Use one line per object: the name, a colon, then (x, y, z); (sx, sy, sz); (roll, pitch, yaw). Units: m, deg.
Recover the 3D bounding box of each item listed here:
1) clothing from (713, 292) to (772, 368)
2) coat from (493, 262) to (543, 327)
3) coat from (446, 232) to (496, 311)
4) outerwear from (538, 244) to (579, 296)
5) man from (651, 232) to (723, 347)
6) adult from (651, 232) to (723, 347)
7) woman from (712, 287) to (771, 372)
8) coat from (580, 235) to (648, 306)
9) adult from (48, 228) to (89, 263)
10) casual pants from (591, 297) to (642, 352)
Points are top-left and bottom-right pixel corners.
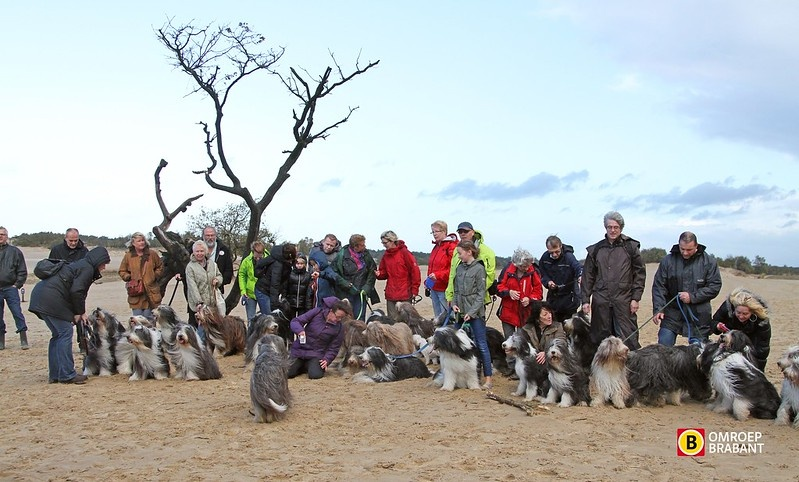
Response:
clothing: (6.445, 1.667, 10.189); (0.755, 1.891, 0.916); (-37, 33, -17)
coat: (2.516, 1.118, 11.545); (0.974, 1.364, 0.803); (5, 18, 13)
coat: (1.487, 0.522, 11.635); (1.115, 1.615, 0.904); (0, 15, 0)
outerwear: (3.265, 0.642, 11.141); (0.944, 1.230, 0.677); (3, 10, 42)
man: (5.536, 1.212, 10.619); (1.104, 2.765, 0.813); (0, 16, 21)
adult: (5.483, 1.214, 10.607); (1.190, 2.783, 0.830); (1, 14, 23)
woman: (6.408, 1.749, 10.163); (0.711, 1.816, 0.876); (-33, 29, -29)
coat: (4.133, 0.627, 10.580); (1.200, 1.621, 0.941); (0, -14, 20)
adult: (-7.178, 0.220, 11.809); (0.879, 0.845, 0.434); (3, 7, -42)
casual pants: (4.131, 1.620, 10.554); (1.011, 1.290, 0.510); (-1, -8, 8)
